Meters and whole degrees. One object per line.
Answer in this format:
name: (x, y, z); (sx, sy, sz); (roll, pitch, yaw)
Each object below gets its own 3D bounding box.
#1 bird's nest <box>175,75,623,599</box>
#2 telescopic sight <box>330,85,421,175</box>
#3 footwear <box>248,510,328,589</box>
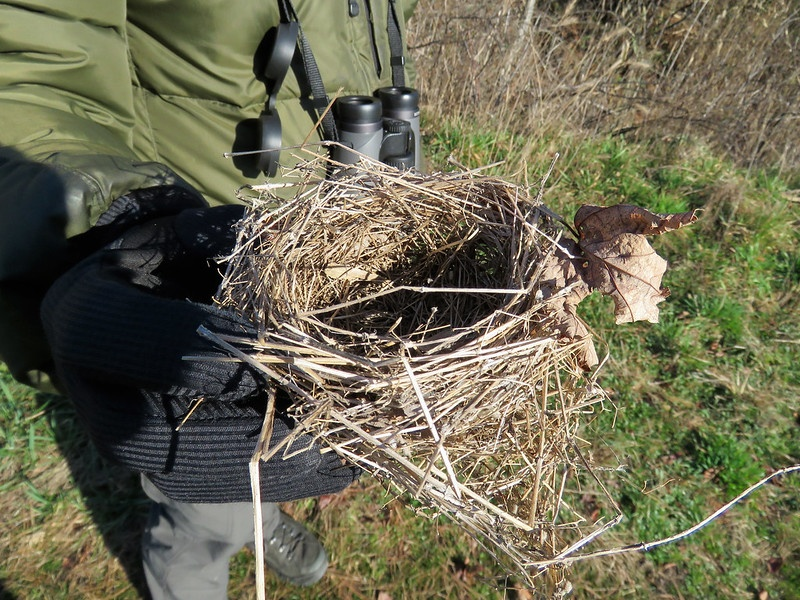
bird's nest: (-0.079, 0.396, 2.638); (1.069, 1.682, 1.831); (-15, 49, -28)
telescopic sight: (-0.088, -0.769, 3.083); (0.466, 0.469, 0.185); (-21, 29, -33)
footwear: (-0.432, 1.098, 2.998); (0.403, 0.164, 0.173); (32, 70, 12)
